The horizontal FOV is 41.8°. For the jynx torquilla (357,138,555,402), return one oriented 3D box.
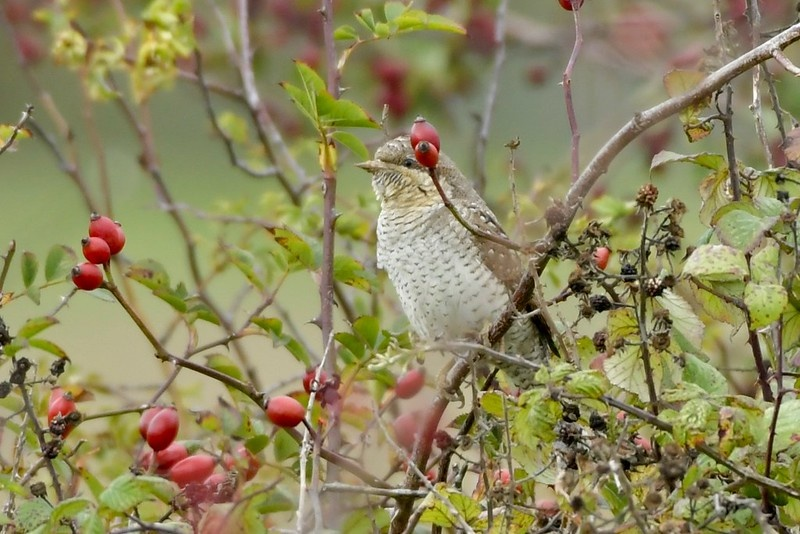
[{"bbox_3d":[0.278,-0.010,4.530,1.001,1.081,0.486,5,-15,-37],"label":"jynx torquilla"}]
